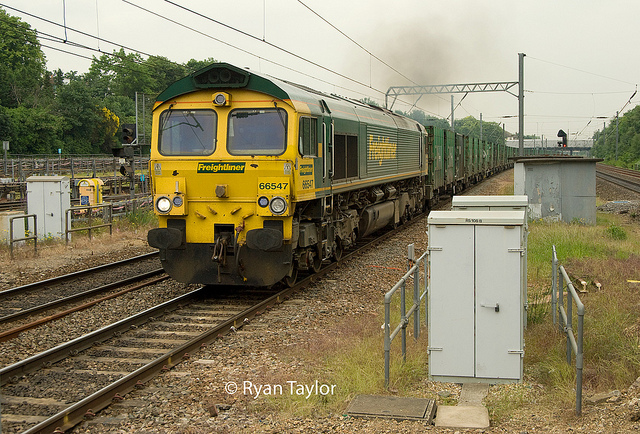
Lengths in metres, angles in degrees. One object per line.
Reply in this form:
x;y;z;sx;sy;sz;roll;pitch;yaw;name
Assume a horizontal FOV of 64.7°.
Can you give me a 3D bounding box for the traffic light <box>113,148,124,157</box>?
-8.093;-2.607;20.266;0.529;0.298;0.361;0;3;6;traffic light
